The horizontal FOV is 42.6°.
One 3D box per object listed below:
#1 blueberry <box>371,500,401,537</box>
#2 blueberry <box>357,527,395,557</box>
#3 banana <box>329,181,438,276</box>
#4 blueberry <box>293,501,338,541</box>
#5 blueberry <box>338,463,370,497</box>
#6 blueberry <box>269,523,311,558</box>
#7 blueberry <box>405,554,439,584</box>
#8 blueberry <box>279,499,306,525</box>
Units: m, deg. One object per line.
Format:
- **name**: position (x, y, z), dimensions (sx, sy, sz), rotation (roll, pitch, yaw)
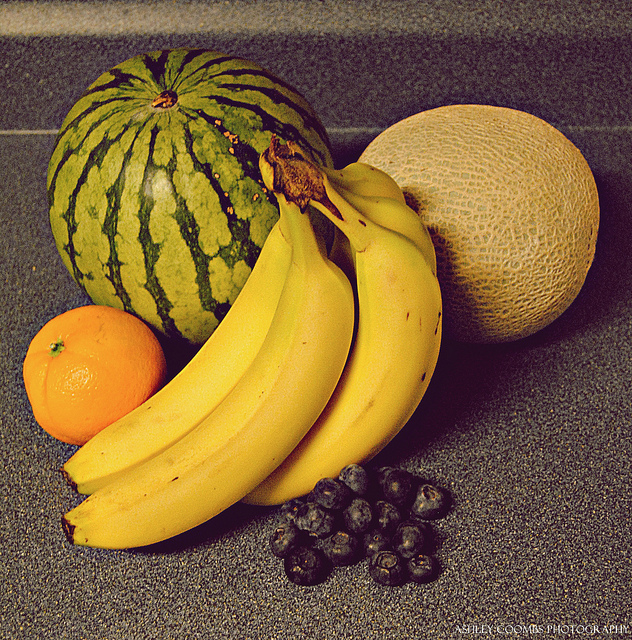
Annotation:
- **blueberry**: position (0.074, 0.209, 0.858), dimensions (0.026, 0.010, 0.037), rotation (-17, 83, -10)
- **blueberry**: position (0.063, 0.233, 0.852), dimensions (0.024, 0.021, 0.034), rotation (-4, 50, 0)
- **banana**: position (0.068, -0.120, 0.861), dimensions (0.091, 0.091, 0.090), rotation (-3, 36, -6)
- **blueberry**: position (-0.001, 0.209, 0.851), dimensions (0.041, 0.024, 0.037), rotation (25, 91, 1)
- **blueberry**: position (0.042, 0.167, 0.856), dimensions (0.023, 0.020, 0.037), rotation (2, 58, -13)
- **blueberry**: position (-0.027, 0.232, 0.859), dimensions (0.035, 0.023, 0.036), rotation (-7, 74, 4)
- **blueberry**: position (0.113, 0.265, 0.860), dimensions (0.039, 0.030, 0.023), rotation (1, 50, -5)
- **blueberry**: position (-0.025, 0.205, 0.876), dimensions (0.023, 0.015, 0.021), rotation (-30, 38, 4)
